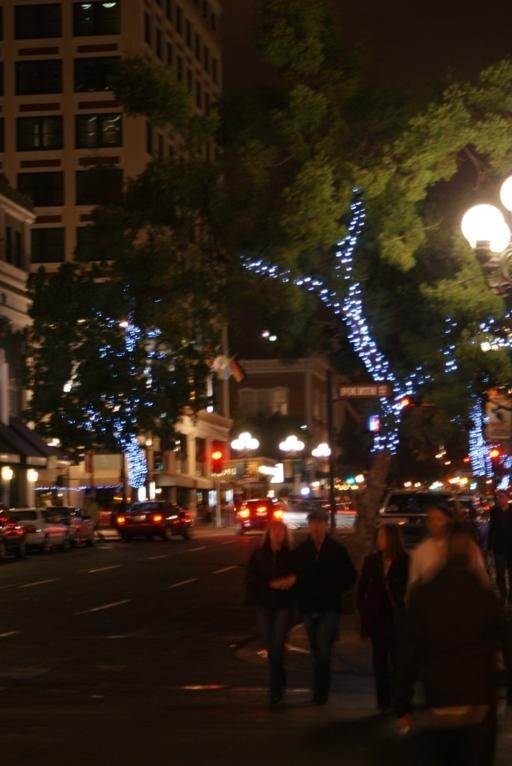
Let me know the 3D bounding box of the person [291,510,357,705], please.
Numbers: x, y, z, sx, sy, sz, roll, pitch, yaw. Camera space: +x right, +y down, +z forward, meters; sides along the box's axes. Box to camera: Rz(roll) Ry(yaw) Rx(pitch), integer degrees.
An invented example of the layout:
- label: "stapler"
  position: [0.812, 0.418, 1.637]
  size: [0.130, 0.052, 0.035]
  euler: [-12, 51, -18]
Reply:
- label: "person"
  position: [0.534, 1.841, 9.652]
  size: [0.493, 1.540, 0.386]
  euler: [-6, -10, 42]

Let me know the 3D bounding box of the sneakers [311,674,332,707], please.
- label: "sneakers"
  position: [0.511, 2.477, 9.557]
  size: [0.127, 0.256, 0.242]
  euler: [1, -7, -1]
